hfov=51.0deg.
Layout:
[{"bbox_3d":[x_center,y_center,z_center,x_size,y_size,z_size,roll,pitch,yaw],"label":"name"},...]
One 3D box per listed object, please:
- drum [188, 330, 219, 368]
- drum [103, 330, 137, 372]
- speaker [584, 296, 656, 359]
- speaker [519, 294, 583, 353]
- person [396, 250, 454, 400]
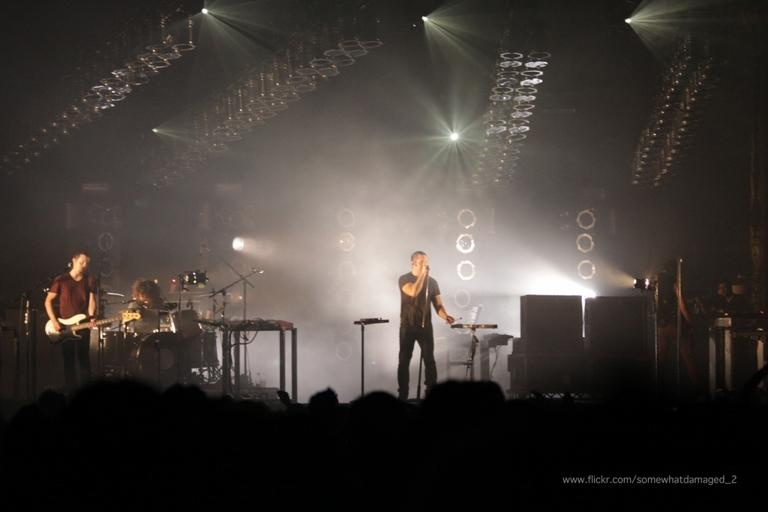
[{"bbox_3d":[-3.619,1.841,15.555,0.641,1.049,0.615,-2,-6,0],"label":"drum"},{"bbox_3d":[-4.816,1.754,14.664,0.738,0.796,0.715,2,-5,-19],"label":"drum"},{"bbox_3d":[3.964,1.240,13.794,1.363,1.288,0.963,0,-8,2],"label":"speaker"},{"bbox_3d":[2.843,1.151,13.494,1.042,0.902,0.609,1,12,9],"label":"speaker"},{"bbox_3d":[0.671,1.179,13.047,0.911,2.545,0.788,1,-10,-5],"label":"person"}]
